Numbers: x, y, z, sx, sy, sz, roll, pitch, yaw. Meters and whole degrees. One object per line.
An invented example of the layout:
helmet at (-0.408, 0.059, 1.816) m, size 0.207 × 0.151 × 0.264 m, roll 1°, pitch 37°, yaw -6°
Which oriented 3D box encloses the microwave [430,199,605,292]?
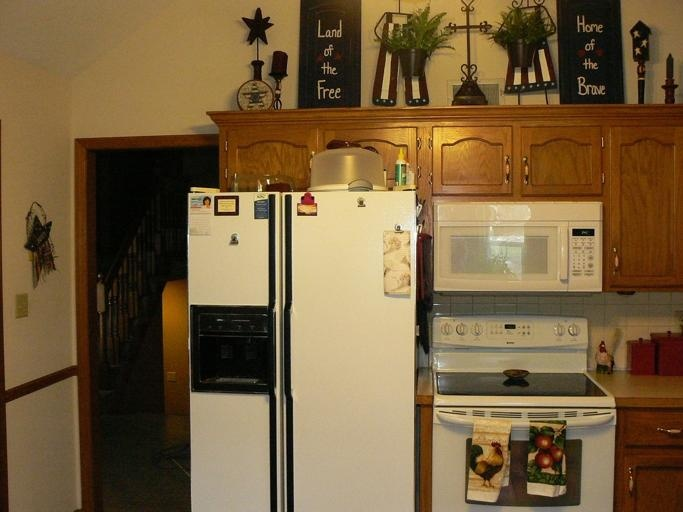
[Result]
microwave at (1.158, -0.119, 5.353) m, size 1.058 × 0.671 × 0.645 m, roll 0°, pitch 19°, yaw 15°

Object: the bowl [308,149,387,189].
bowl at (0.034, -0.524, 4.867) m, size 0.296 × 0.176 × 0.314 m, roll 0°, pitch 0°, yaw 0°

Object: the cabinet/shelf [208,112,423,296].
cabinet/shelf at (-0.131, -0.405, 5.248) m, size 1.361 × 0.918 × 0.392 m, roll 0°, pitch -23°, yaw -5°

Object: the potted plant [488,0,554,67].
potted plant at (1.211, -1.463, 5.494) m, size 0.399 × 0.456 × 0.425 m, roll 1°, pitch 1°, yaw -1°

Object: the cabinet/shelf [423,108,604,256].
cabinet/shelf at (1.153, -0.600, 5.290) m, size 1.098 × 0.600 × 0.373 m, roll 1°, pitch -20°, yaw 9°

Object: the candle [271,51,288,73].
candle at (-0.416, -1.291, 5.365) m, size 0.100 × 0.162 × 0.103 m, roll 1°, pitch 1°, yaw -8°

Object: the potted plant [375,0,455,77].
potted plant at (0.509, -1.461, 5.416) m, size 0.491 × 0.499 × 0.212 m, roll 1°, pitch 1°, yaw 2°
